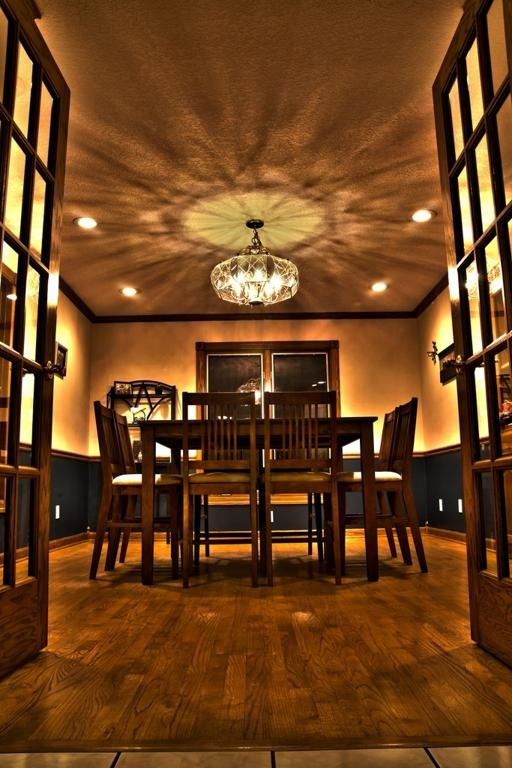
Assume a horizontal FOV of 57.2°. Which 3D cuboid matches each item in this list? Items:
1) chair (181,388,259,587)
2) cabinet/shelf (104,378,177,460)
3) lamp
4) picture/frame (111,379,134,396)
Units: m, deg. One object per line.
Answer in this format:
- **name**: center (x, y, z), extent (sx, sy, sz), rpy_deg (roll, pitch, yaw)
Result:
- **chair**: center (-0.240, 0.608, 3.246), extent (0.486, 1.248, 1.969), rpy_deg (1, -15, -6)
- **cabinet/shelf**: center (-1.313, 0.411, 5.491), extent (0.637, 0.967, 0.197), rpy_deg (0, -1, -17)
- **lamp**: center (-0.006, -1.034, 3.983), extent (0.642, 0.669, 0.678), rpy_deg (-1, -3, 15)
- **picture/frame**: center (-1.551, 0.049, 5.419), extent (0.252, 0.197, 0.158), rpy_deg (1, -14, -6)
